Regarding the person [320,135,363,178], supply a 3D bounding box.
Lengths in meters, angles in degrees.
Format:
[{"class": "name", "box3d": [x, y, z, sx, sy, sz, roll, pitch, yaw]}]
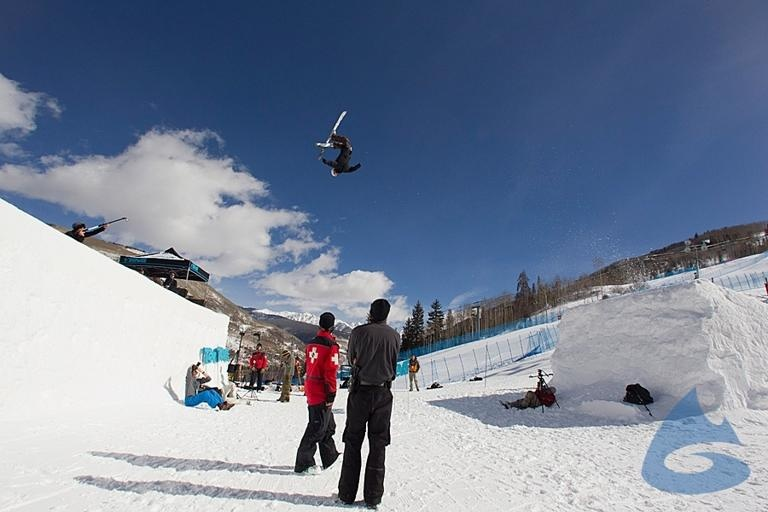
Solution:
[{"class": "person", "box3d": [-1.222, -2.737, 13.752, 0.401, 1.563, 1.583, 11, 1, -16]}]

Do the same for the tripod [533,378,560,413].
[{"class": "tripod", "box3d": [5.033, 4.405, 13.926, 0.848, 0.859, 0.729, -9, -12, 3]}]

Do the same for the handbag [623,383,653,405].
[{"class": "handbag", "box3d": [7.013, 3.805, 12.184, 0.726, 0.577, 0.514, 1, -1, 25]}]

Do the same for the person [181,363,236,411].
[{"class": "person", "box3d": [-5.754, 4.125, 14.143, 1.136, 1.355, 3.108, 2, -1, -35]}]

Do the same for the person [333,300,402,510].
[{"class": "person", "box3d": [-0.267, 2.575, 7.941, 0.998, 3.653, 0.702, 2, 0, 2]}]
